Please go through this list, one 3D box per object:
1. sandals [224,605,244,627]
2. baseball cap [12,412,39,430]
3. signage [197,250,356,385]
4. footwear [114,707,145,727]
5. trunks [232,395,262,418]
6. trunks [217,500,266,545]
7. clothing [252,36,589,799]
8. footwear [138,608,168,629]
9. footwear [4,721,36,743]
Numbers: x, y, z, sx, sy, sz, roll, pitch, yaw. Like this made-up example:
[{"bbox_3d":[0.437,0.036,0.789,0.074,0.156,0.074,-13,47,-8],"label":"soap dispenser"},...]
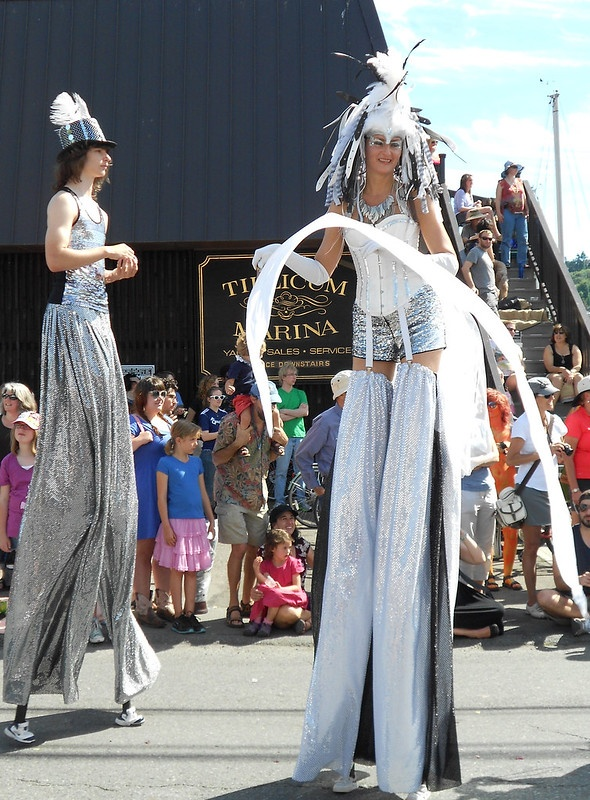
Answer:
[{"bbox_3d":[-0.349,1.235,6.615,0.120,0.099,0.301,0,-5,-3],"label":"sandals"},{"bbox_3d":[-1.542,0.126,6.677,0.129,0.073,0.149,1,-8,0],"label":"baseball cap"},{"bbox_3d":[-0.199,-0.586,8.646,1.735,0.969,0.066,1,3,1],"label":"signage"},{"bbox_3d":[-0.671,1.302,4.753,0.130,0.064,0.061,0,1,-3],"label":"footwear"},{"bbox_3d":[-0.274,0.045,6.681,0.142,0.083,0.118,-7,41,-41],"label":"trunks"},{"bbox_3d":[-0.323,0.721,6.836,0.322,0.218,0.188,5,-7,-45],"label":"trunks"},{"bbox_3d":[0.398,0.070,4.221,1.132,2.733,0.746,0,-4,-4],"label":"clothing"},{"bbox_3d":[-0.803,1.225,6.487,0.197,0.067,0.079,-2,-3,43],"label":"footwear"},{"bbox_3d":[-1.075,1.304,4.560,0.148,0.055,0.056,5,-4,35],"label":"footwear"}]
